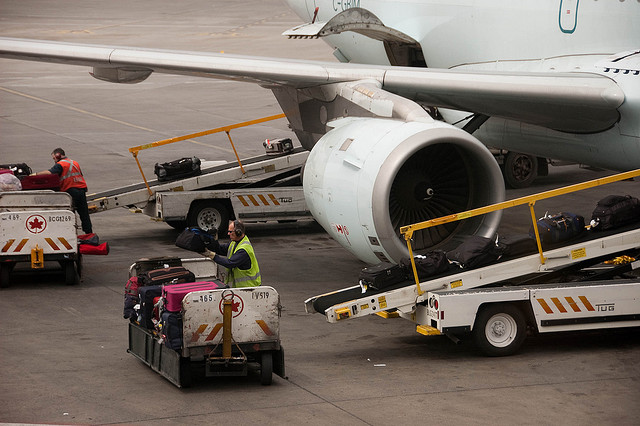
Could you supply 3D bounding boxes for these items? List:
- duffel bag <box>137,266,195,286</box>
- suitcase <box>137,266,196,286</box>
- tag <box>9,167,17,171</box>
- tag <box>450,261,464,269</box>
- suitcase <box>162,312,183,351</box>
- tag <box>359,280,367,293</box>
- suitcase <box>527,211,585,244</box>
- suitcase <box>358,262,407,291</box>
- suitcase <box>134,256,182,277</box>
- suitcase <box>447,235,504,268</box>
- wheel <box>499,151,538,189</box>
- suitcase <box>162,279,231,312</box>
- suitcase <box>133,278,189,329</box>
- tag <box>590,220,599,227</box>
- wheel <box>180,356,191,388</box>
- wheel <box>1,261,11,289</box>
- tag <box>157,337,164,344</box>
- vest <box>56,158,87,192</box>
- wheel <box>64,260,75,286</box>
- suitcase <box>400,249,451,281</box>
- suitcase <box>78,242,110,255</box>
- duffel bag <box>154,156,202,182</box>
[{"bbox_3d":[-2.501,1.020,11.542,0.633,0.177,0.427,-2,2,-7],"label":"duffel bag"},{"bbox_3d":[-2.474,1.020,11.530,0.642,0.178,0.421,-4,2,-15],"label":"suitcase"},{"bbox_3d":[-7.729,-1.096,17.808,0.160,0.051,0.151,-8,10,-33],"label":"tag"},{"bbox_3d":[2.328,0.880,11.946,0.136,0.043,0.034,32,60,21],"label":"tag"},{"bbox_3d":[-2.187,1.756,10.455,0.263,0.549,0.476,-4,15,-15],"label":"suitcase"},{"bbox_3d":[0.721,1.231,11.787,0.068,0.151,0.128,-3,12,-44],"label":"tag"},{"bbox_3d":[4.067,0.228,12.339,0.942,0.285,0.552,-14,28,-28],"label":"suitcase"},{"bbox_3d":[1.047,1.043,11.811,0.691,0.384,0.402,-5,15,-19],"label":"suitcase"},{"bbox_3d":[-2.797,0.868,12.164,0.712,0.205,0.511,-2,3,-21],"label":"suitcase"},{"bbox_3d":[2.620,0.656,12.057,0.849,0.431,0.467,-5,15,-22],"label":"suitcase"},{"bbox_3d":[6.406,-1.388,22.965,1.426,1.199,0.414,-9,18,-33],"label":"wheel"},{"bbox_3d":[-1.872,1.240,10.783,0.847,0.238,0.426,-4,8,-28],"label":"suitcase"},{"bbox_3d":[-2.495,1.433,11.446,0.778,0.727,0.809,1,-2,31],"label":"suitcase"},{"bbox_3d":[4.821,0.186,12.486,0.130,0.122,0.034,10,5,29],"label":"tag"},{"bbox_3d":[-1.985,2.330,10.408,0.140,0.493,0.108,-3,16,-12],"label":"wheel"},{"bbox_3d":[-6.479,1.256,14.615,0.237,0.573,0.199,-6,17,-20],"label":"wheel"},{"bbox_3d":[-2.409,1.912,10.690,0.091,0.107,0.033,15,29,-12],"label":"tag"},{"bbox_3d":[-6.074,-0.917,17.264,0.585,0.718,0.476,-6,16,-23],"label":"vest"},{"bbox_3d":[-5.258,1.240,14.852,0.248,0.566,0.104,-1,16,-5],"label":"wheel"},{"bbox_3d":[1.717,0.868,11.910,0.870,0.437,0.436,-4,15,-17],"label":"suitcase"},{"bbox_3d":[-4.769,0.754,15.012,0.451,0.146,0.319,0,3,2],"label":"suitcase"},{"bbox_3d":[-3.813,-1.185,18.985,1.072,0.330,0.615,-9,18,-12],"label":"duffel bag"}]
